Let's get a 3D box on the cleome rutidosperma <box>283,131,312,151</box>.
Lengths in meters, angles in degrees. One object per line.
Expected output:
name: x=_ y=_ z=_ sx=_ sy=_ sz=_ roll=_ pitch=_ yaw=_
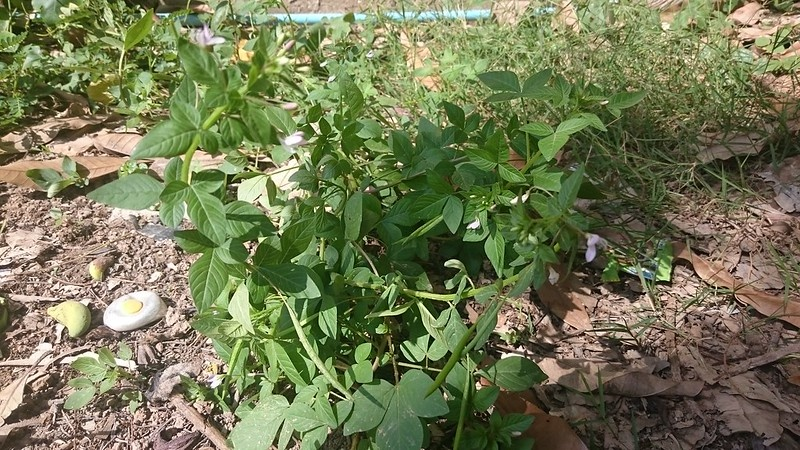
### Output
cleome rutidosperma: x=-0.489 y=-0.374 z=2.207 sx=0.139 sy=0.054 sz=0.129 roll=-7 pitch=34 yaw=-2
